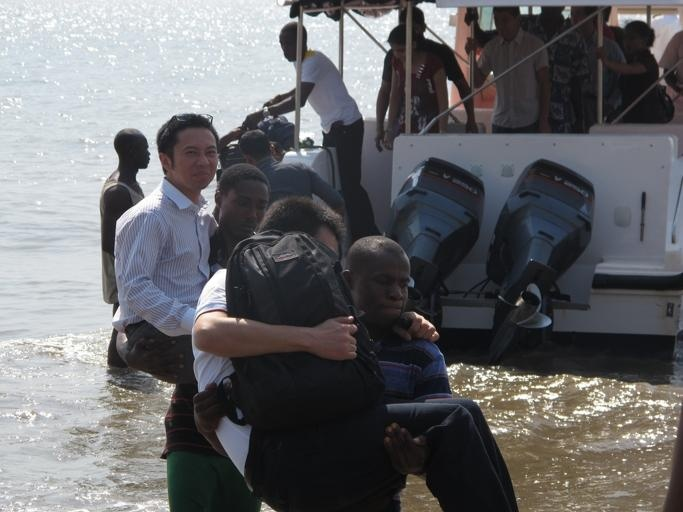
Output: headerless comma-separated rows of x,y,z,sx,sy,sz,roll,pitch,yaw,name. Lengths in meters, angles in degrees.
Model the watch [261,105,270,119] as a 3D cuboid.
-0.777,-1.444,12.514,0.086,0.114,0.038,1,40,7,watch
